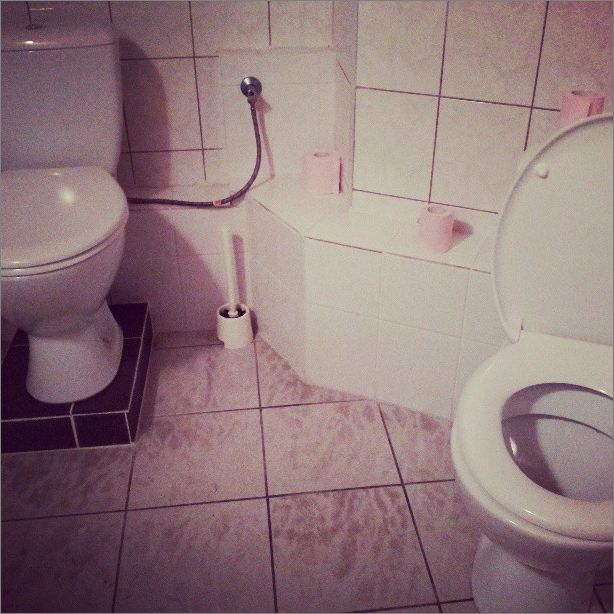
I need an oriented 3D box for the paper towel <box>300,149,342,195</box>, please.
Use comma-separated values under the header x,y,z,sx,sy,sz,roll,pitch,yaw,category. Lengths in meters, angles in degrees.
x,y,z,sx,sy,sz,roll,pitch,yaw,category
0.040,-0.385,1.654,0.087,0.123,0.126,0,35,0,paper towel
